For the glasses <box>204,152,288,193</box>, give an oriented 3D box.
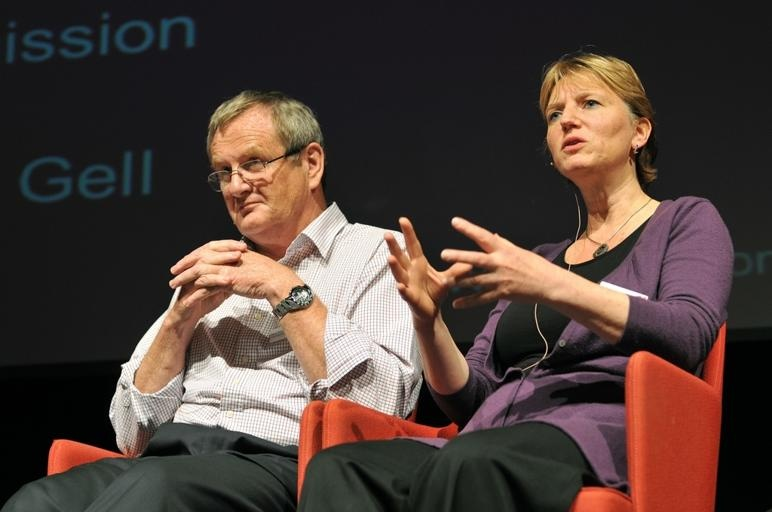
[{"bbox_3d":[-0.524,-0.347,2.761,0.179,0.055,0.188,-20,2,38],"label":"glasses"}]
